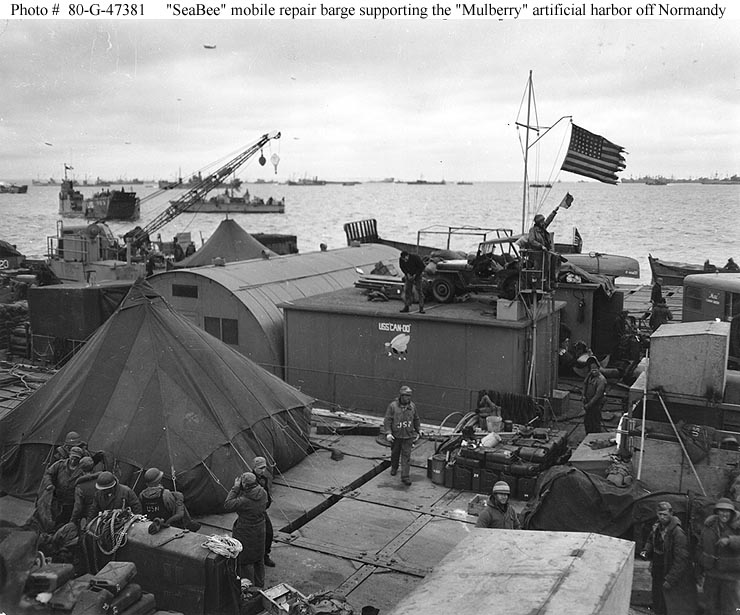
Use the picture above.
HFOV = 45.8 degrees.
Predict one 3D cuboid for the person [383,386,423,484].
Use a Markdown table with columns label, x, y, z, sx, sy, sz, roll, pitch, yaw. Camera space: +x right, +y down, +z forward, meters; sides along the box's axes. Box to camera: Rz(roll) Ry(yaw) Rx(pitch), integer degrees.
| label | x | y | z | sx | sy | sz | roll | pitch | yaw |
| --- | --- | --- | --- | --- | --- | --- | --- | --- | --- |
| person | 0.626 | 2.445 | 16.994 | 0.705 | 1.916 | 0.702 | 0 | 0 | 1 |

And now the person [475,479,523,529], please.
| label | x | y | z | sx | sy | sz | roll | pitch | yaw |
| --- | --- | --- | --- | --- | --- | --- | --- | --- | --- |
| person | 1.960 | 3.052 | 13.209 | 0.760 | 0.805 | 0.415 | 4 | -7 | -29 |

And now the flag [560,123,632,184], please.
| label | x | y | z | sx | sy | sz | roll | pitch | yaw |
| --- | --- | --- | --- | --- | --- | --- | --- | --- | --- |
| flag | 6.768 | -4.448 | 25.742 | 1.591 | 1.311 | 0.235 | 11 | 8 | 19 |

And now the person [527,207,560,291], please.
| label | x | y | z | sx | sy | sz | roll | pitch | yaw |
| --- | --- | --- | --- | --- | --- | --- | --- | --- | --- |
| person | 4.125 | -1.466 | 20.825 | 0.532 | 2.052 | 0.680 | 4 | 12 | 26 |

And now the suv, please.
| label | x | y | z | sx | sy | sz | roll | pitch | yaw |
| --- | --- | --- | --- | --- | --- | --- | --- | --- | --- |
| suv | 2.792 | -0.908 | 21.988 | 2.593 | 1.547 | 1.495 | 4 | 8 | 23 |
